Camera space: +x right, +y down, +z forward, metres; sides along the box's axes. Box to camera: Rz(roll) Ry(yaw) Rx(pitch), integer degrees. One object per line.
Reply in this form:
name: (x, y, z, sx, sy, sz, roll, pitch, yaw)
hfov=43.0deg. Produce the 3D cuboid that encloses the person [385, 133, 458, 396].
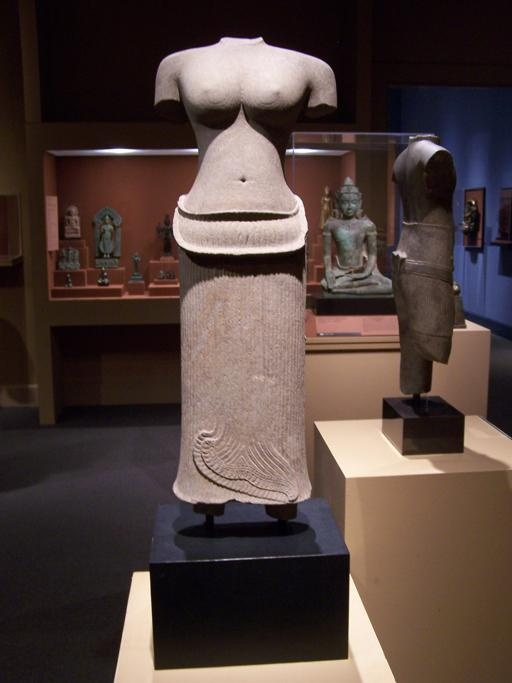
person: (0.747, -0.309, 2.920, 0.287, 1.145, 0.325, 2, 9, 21)

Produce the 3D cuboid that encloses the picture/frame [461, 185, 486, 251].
picture/frame: (1.532, -0.864, 4.576, 0.140, 0.482, 0.045, 8, 49, 24)

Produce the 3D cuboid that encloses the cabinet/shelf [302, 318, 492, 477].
cabinet/shelf: (0.889, 0.444, 4.400, 1.240, 1.658, 0.760, -1, 3, -4)

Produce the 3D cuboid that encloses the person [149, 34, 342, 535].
person: (-0.061, -0.193, 2.126, 0.516, 0.378, 1.830, 1, 61, -3)
